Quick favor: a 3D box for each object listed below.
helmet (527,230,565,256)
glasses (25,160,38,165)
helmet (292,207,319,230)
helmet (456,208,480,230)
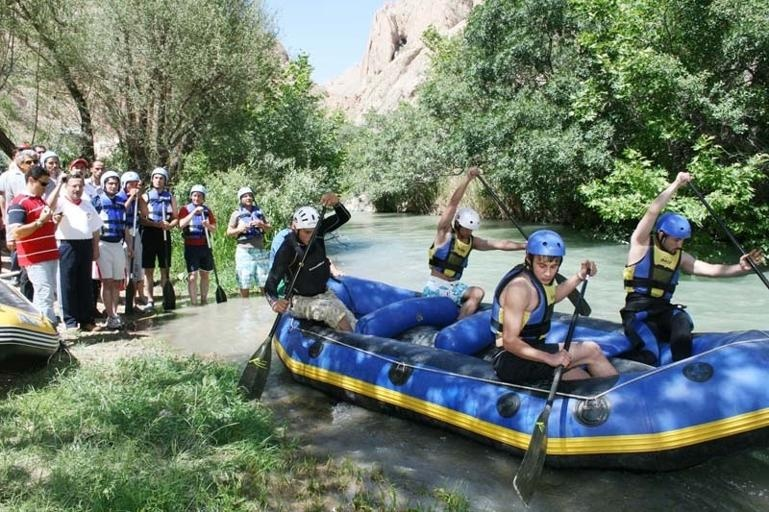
[{"bbox_3d":[1.833,-0.151,6.925,0.405,0.279,0.358,7,13,12],"label":"helmet"},{"bbox_3d":[-5.474,-1.450,9.376,0.158,0.056,0.165,-3,3,-32],"label":"glasses"},{"bbox_3d":[-1.141,-0.538,8.755,0.269,0.342,0.363,0,-5,-19],"label":"helmet"},{"bbox_3d":[1.233,-0.547,9.196,0.286,0.311,0.372,12,26,-20],"label":"helmet"}]
